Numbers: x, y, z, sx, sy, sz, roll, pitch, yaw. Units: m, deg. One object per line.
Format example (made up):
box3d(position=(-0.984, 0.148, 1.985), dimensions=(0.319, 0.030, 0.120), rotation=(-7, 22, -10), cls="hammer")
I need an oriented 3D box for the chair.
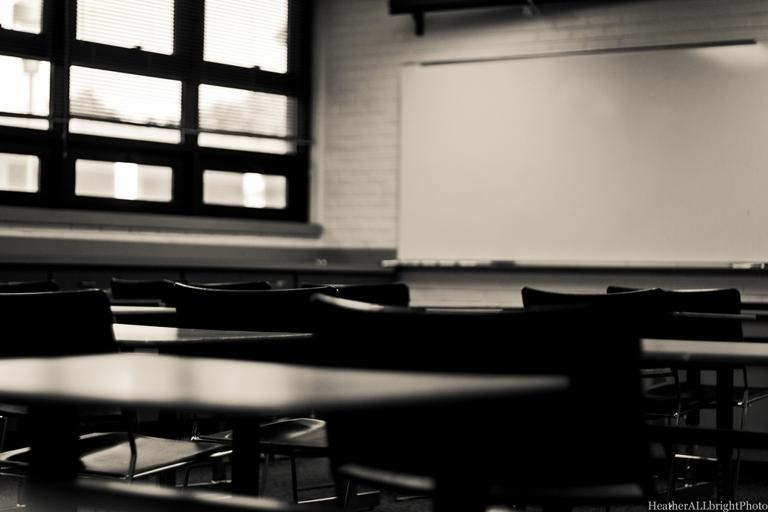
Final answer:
box3d(position=(0.005, 0.408, 2.542), dimensions=(2.214, 0.603, 0.672), rotation=(-3, 7, -13), cls="chair")
